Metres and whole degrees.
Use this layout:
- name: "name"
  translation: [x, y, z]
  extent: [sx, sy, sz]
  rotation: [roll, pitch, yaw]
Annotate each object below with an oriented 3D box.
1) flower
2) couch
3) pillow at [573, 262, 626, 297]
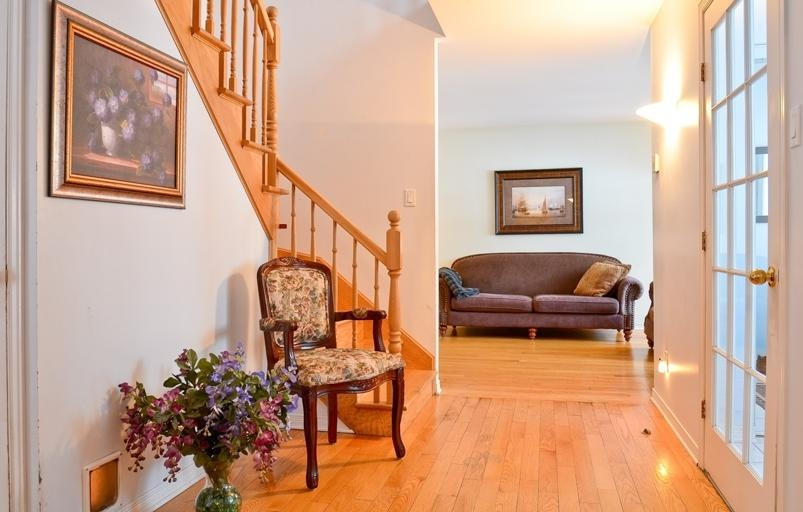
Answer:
- name: "flower"
  translation: [-0.966, 0.831, 2.957]
  extent: [0.857, 0.757, 0.485]
  rotation: [-2, 6, -12]
- name: "couch"
  translation: [1.646, 0.489, 7.208]
  extent: [2.241, 0.962, 1.089]
  rotation: [0, 6, 11]
- name: "pillow"
  translation: [2.394, 0.277, 6.969]
  extent: [0.559, 0.372, 0.423]
  rotation: [-3, 6, -19]
